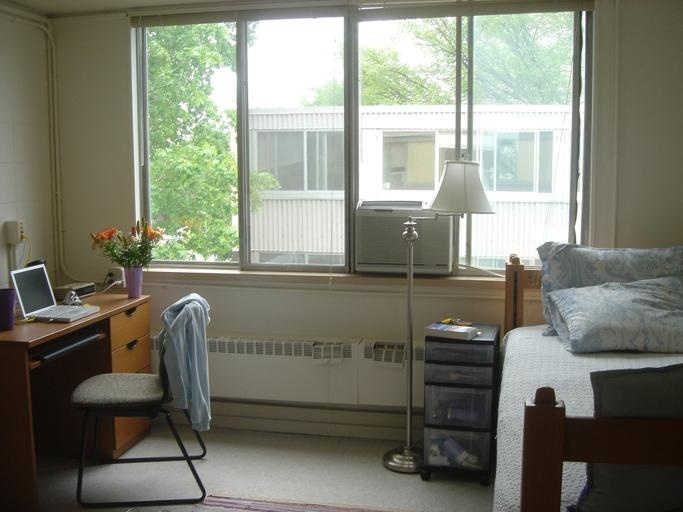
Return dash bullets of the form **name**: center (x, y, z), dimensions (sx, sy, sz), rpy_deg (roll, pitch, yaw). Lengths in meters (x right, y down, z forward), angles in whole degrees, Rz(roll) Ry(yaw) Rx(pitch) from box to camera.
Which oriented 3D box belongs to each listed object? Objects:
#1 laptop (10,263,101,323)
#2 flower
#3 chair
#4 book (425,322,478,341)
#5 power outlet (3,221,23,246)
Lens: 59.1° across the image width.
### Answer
- **laptop**: center (-1.646, 0.225, 3.476), dimensions (0.359, 0.284, 0.373), rpy_deg (4, 5, 5)
- **flower**: center (-1.397, -0.099, 4.043), dimensions (0.414, 0.312, 0.526), rpy_deg (-3, 8, -14)
- **chair**: center (-1.029, 0.840, 3.935), dimensions (1.027, 1.600, 0.924), rpy_deg (3, 1, -9)
- **book**: center (0.643, 0.433, 3.480), dimensions (0.317, 0.065, 0.204), rpy_deg (-1, 8, 5)
- **power outlet**: center (-2.146, -0.147, 3.946), dimensions (0.101, 0.163, 0.049), rpy_deg (-6, 9, -33)
